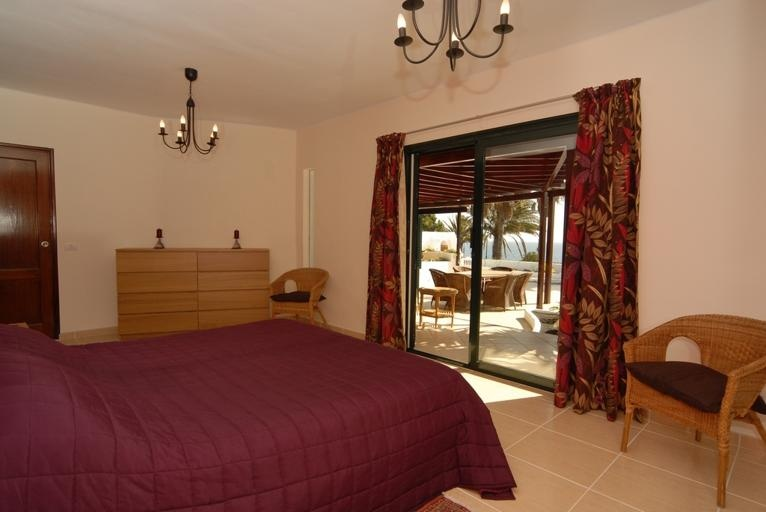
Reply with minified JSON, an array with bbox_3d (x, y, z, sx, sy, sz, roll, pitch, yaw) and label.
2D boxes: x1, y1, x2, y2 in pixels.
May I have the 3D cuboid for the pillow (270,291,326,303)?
[{"bbox_3d":[-1.276,0.578,7.312,0.611,0.153,0.211,2,0,18],"label":"pillow"}]

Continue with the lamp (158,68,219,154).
[{"bbox_3d":[-2.381,-1.816,6.454,0.752,0.961,0.604,-7,23,-38],"label":"lamp"}]
